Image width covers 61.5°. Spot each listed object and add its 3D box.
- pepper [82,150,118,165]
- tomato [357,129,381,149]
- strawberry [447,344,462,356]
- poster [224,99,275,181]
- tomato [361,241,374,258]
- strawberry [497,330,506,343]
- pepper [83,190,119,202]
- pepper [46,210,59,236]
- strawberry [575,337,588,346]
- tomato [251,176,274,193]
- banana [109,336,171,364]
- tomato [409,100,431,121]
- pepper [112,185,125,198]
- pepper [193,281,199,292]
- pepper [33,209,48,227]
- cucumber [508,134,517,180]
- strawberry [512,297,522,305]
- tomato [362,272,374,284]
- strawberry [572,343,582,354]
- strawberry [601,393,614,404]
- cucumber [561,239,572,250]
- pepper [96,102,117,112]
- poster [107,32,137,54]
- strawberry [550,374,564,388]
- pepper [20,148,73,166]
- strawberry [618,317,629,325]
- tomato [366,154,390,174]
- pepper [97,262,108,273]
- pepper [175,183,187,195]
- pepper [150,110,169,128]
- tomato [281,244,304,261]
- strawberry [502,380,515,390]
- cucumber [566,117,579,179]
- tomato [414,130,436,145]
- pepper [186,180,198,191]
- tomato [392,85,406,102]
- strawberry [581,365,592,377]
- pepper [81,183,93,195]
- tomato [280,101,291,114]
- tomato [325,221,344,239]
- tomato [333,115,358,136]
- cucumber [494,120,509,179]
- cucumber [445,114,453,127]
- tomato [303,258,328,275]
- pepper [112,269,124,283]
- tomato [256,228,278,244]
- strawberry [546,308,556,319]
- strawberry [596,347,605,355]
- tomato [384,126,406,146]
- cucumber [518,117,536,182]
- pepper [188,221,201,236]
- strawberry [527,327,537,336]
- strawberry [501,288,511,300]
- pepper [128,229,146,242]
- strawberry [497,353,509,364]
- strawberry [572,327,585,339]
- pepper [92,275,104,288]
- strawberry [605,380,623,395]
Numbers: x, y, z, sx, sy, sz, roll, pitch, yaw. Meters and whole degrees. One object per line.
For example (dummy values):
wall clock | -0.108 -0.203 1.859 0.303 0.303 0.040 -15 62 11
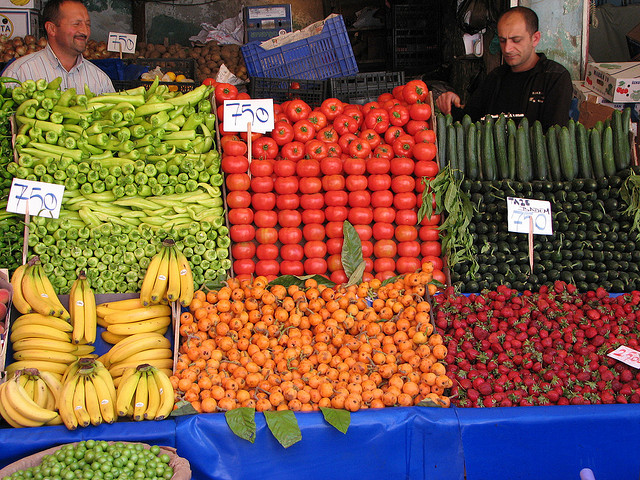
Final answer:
pepper | -1.766 -0.682 4.348 0.283 0.088 0.068 -24 -24 -17
tomato | 0.447 -0.900 4.784 0.161 0.170 0.171 18 -4 11
strawberry | 0.985 0.802 3.916 0.117 0.078 0.090 -5 -10 5
poster | -0.618 -0.869 4.729 0.442 0.805 0.056 -5 40 -14
tomato | 0.398 0.071 4.506 0.113 0.118 0.118 -1 9 6
strawberry | 1.333 0.714 3.963 0.049 0.072 0.052 -15 25 -20
pepper | -1.743 -0.350 4.282 0.257 0.089 0.088 -5 -11 -7
pepper | -2.077 -0.141 4.166 0.077 0.200 0.081 26 35 15
strawberry | 1.920 0.738 3.943 0.080 0.061 0.057 22 -38 -26
tomato | -0.480 -0.468 4.516 0.173 0.163 0.119 0 -3 -11
banana | -1.285 0.789 3.839 0.398 0.086 0.106 -15 20 -30
tomato | 0.902 -1.151 4.807 0.156 0.158 0.152 1 1 -45
pepper | -1.611 -0.394 4.287 0.080 0.086 0.032 -5 8 -8
pepper | -0.975 0.356 4.214 0.020 0.061 0.053 -14 -26 38
pepper | -2.149 -0.175 4.206 0.103 0.112 0.145 3 -16 -9
cucumber | 1.684 -0.724 4.690 0.068 0.383 0.098 3 -9 10
strawberry | 1.543 0.469 4.186 0.048 0.052 0.050 3 8 7
tomato | 0.406 0.302 4.460 0.068 0.073 0.073 -5 -4 33
strawberry | 1.872 0.783 3.897 0.059 0.070 0.042 2 14 15
strawberry | 1.954 1.071 3.639 0.076 0.051 0.057 6 16 27
cucumber | 2.099 0.035 4.549 0.069 0.047 0.084 -19 21 8
pepper | -1.757 -1.104 4.437 0.162 0.050 0.048 -15 16 -21
poster | -3.022 -3.014 8.180 0.407 0.287 0.229 -8 15 -23
strawberry | 1.633 0.971 3.716 0.067 0.069 0.063 -22 -21 -20
pepper | -2.163 -0.660 4.237 0.240 0.062 0.064 14 44 -1
strawberry | 2.332 0.620 4.125 0.102 0.034 0.054 -7 15 -20
tomato | 0.496 -0.641 4.580 0.141 0.145 0.149 -2 -5 29
pepper | -1.705 0.207 4.182 0.064 0.070 0.038 3 -10 -9
pepper | -1.126 -0.420 4.351 0.076 0.083 0.081 -1 4 6
pepper | -1.308 -1.008 4.444 0.066 0.089 0.155 16 49 36
tomato | -0.229 0.099 4.471 0.164 0.163 0.129 0 17 11
strawberry | 1.308 1.001 3.696 0.059 0.057 0.056 8 29 23
cucumber | 2.245 -0.824 4.777 0.081 0.538 0.086 -1 -5 7
tomato | 0.929 -0.925 4.707 0.127 0.136 0.135 25 53 28
pepper | -1.051 -0.451 4.386 0.073 0.077 0.041 -32 9 1
tomato | 0.751 -1.403 5.077 0.117 0.168 0.091 -2 -6 24
strawberry | 1.884 0.909 3.787 0.061 0.061 0.054 -37 37 -30
pepper | -1.838 -0.409 4.248 0.072 0.071 0.074 -6 -23 -1
tomato | -0.317 -1.205 4.861 0.096 0.105 0.120 -1 11 -7
tomato | 0.120 -0.093 4.532 0.151 0.133 0.078 -2 14 -2
tomato | 0.235 -1.027 4.844 0.176 0.182 0.181 -30 10 10
cucumber | 1.592 -0.794 4.707 0.080 0.518 0.085 -5 -5 15
cucumber | 1.179 -1.093 4.876 0.057 0.135 0.054 6 -2 -7
tomato | -0.037 0.215 4.448 0.159 0.097 0.131 1 40 9
pepper | -1.570 0.285 4.223 0.076 0.079 0.100 -28 -10 -26
tomato | -0.451 -0.040 4.462 0.152 0.143 0.122 0 8 2
strawberry | 1.767 0.556 4.100 0.060 0.083 0.058 -14 18 -37
strawberry | 2.039 0.802 3.894 0.053 0.029 0.071 5 16 25
tomato | 0.656 -0.946 4.765 0.158 0.166 0.163 21 7 -1
cucumber | 1.857 -0.803 4.761 0.112 0.634 0.155 -2 6 10
pepper | -0.996 -0.106 4.344 0.095 0.122 0.100 2 38 -6
strawberry | 1.581 0.674 3.985 0.054 0.060 0.069 -4 -2 20
strawberry | 1.483 0.425 4.277 0.073 0.080 0.077 1 6 9
pepper | -1.451 -0.041 4.300 0.098 0.101 0.132 35 -13 -11
strawberry | 1.304 0.838 3.815 0.064 0.079 0.062 31 -15 25
strawberry | 1.923 0.686 3.982 0.086 0.071 0.068 -1 2 27
pepper | -1.728 0.322 4.159 0.069 0.075 0.025 18 -7 2
strawberry | 2.047 1.007 3.719 0.081 0.083 0.094 1 20 -33
